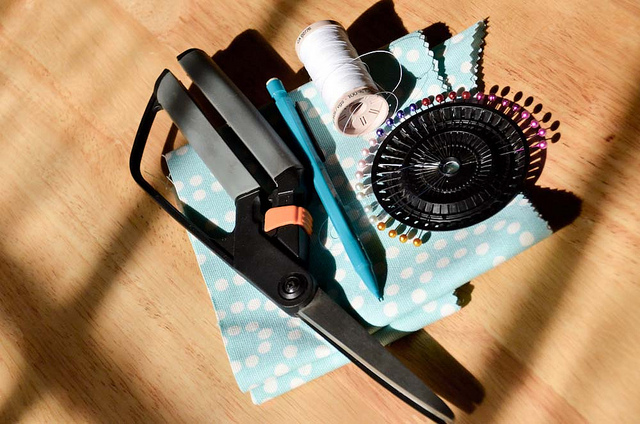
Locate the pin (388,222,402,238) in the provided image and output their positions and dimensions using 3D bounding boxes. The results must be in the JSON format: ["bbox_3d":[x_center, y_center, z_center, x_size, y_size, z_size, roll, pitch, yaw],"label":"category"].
[{"bbox_3d":[0.155,0.033,1.302,0.039,0.017,0.016,-44,125,-21],"label":"pin"}]

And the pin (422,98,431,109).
[{"bbox_3d":[0.231,-0.236,1.331,0.011,0.011,0.016,1,62,-26],"label":"pin"}]

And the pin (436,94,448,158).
[{"bbox_3d":[0.259,-0.187,1.307,0.018,0.019,0.121,-4,89,7],"label":"pin"}]

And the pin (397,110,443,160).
[{"bbox_3d":[0.214,-0.158,1.295,0.018,0.019,0.123,-41,84,-22],"label":"pin"}]

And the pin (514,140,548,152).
[{"bbox_3d":[0.443,-0.138,1.291,0.052,0.015,0.016,-14,114,-6],"label":"pin"}]

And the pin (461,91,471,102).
[{"bbox_3d":[0.314,-0.250,1.330,0.016,0.017,0.024,5,86,-7],"label":"pin"}]

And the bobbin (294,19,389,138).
[{"bbox_3d":[0.048,-0.280,1.335,0.130,0.132,0.290,-24,67,-16],"label":"bobbin"}]

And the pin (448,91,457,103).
[{"bbox_3d":[0.287,-0.247,1.324,0.013,0.011,0.027,-6,105,-5],"label":"pin"}]

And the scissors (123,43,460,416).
[{"bbox_3d":[-0.106,0.018,1.341,0.938,0.160,0.369,44,90,9],"label":"scissors"}]

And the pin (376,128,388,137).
[{"bbox_3d":[0.134,-0.171,1.331,0.008,0.021,0.010,14,73,49],"label":"pin"}]

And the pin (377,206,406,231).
[{"bbox_3d":[0.152,0.015,1.289,0.065,0.012,0.013,-39,103,-10],"label":"pin"}]

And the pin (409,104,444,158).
[{"bbox_3d":[0.227,-0.166,1.295,0.022,0.021,0.134,-47,71,31],"label":"pin"}]

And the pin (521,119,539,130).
[{"bbox_3d":[0.460,-0.189,1.332,0.023,0.010,0.011,-27,68,4],"label":"pin"}]

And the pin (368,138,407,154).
[{"bbox_3d":[0.151,-0.153,1.342,0.096,0.027,0.027,19,89,25],"label":"pin"}]
